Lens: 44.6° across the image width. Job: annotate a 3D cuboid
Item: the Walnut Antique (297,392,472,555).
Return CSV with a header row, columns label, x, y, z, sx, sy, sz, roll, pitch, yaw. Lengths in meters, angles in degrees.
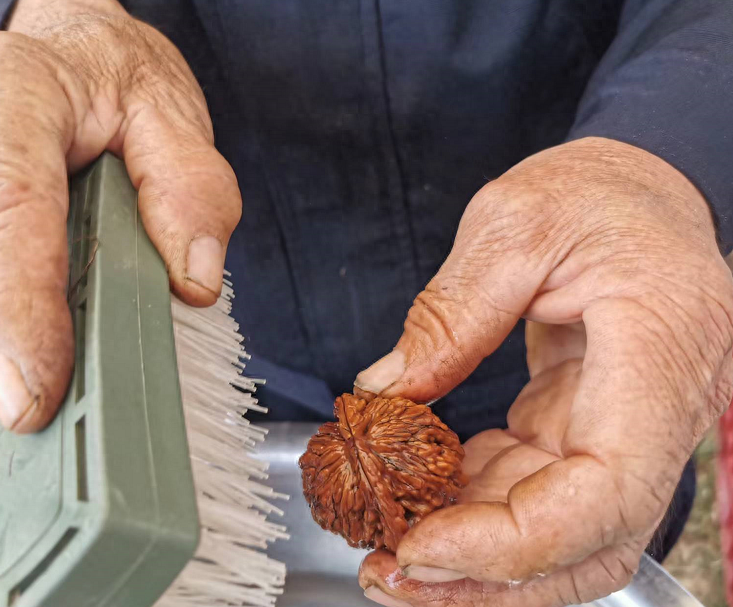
label,x,y,z,sx,sy,sz,roll,pitch,yaw
Walnut Antique,0.016,0.223,1.198,0.220,0.138,0.158,22,46,10
